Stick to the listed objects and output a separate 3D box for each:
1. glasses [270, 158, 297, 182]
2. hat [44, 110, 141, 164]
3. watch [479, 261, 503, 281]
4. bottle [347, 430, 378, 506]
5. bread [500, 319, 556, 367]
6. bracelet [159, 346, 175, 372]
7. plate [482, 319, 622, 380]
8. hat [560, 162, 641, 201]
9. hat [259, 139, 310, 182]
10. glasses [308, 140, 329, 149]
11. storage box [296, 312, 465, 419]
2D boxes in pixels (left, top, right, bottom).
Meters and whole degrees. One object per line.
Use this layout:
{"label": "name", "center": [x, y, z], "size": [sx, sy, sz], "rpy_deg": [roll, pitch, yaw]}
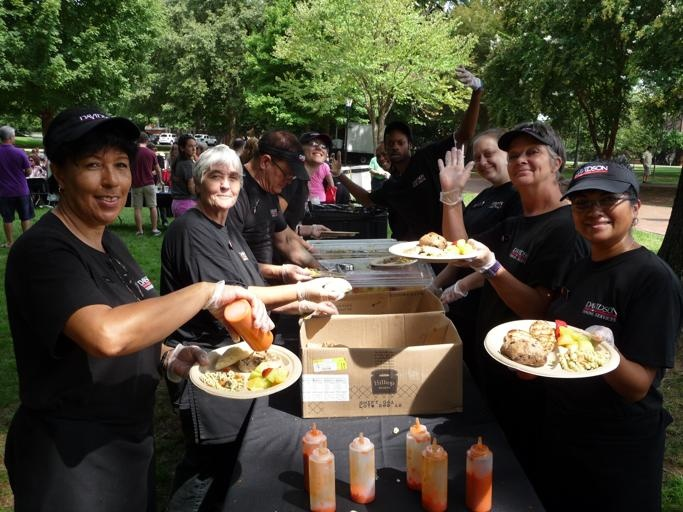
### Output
{"label": "glasses", "center": [-0.487, -0.708, 4.176], "size": [0.168, 0.045, 0.166], "rpy_deg": [56, 14, 25]}
{"label": "hat", "center": [-1.187, -0.583, 2.390], "size": [0.417, 0.246, 0.247], "rpy_deg": [-8, 15, -30]}
{"label": "watch", "center": [0.932, 0.085, 3.146], "size": [0.118, 0.084, 0.119], "rpy_deg": [-38, -5, 2]}
{"label": "bottle", "center": [0.098, 0.994, 2.422], "size": [0.130, 0.327, 0.147], "rpy_deg": [0, 12, 2]}
{"label": "bread", "center": [0.914, 0.420, 2.484], "size": [0.193, 0.062, 0.204], "rpy_deg": [-10, 24, 31]}
{"label": "bracelet", "center": [-0.988, 0.567, 2.829], "size": [0.058, 0.141, 0.047], "rpy_deg": [10, -2, -1]}
{"label": "plate", "center": [1.031, 0.459, 2.508], "size": [0.530, 0.140, 0.599], "rpy_deg": [-11, 17, -39]}
{"label": "hat", "center": [1.434, -0.401, 2.717], "size": [0.303, 0.165, 0.224], "rpy_deg": [22, -21, -35]}
{"label": "hat", "center": [-0.471, -0.810, 4.201], "size": [0.367, 0.151, 0.261], "rpy_deg": [27, 11, -11]}
{"label": "glasses", "center": [-0.328, -1.487, 6.840], "size": [0.248, 0.119, 0.160], "rpy_deg": [15, 13, 13]}
{"label": "storage box", "center": [0.244, 0.687, 3.230], "size": [0.844, 0.446, 0.623], "rpy_deg": [-1, 6, 0]}
